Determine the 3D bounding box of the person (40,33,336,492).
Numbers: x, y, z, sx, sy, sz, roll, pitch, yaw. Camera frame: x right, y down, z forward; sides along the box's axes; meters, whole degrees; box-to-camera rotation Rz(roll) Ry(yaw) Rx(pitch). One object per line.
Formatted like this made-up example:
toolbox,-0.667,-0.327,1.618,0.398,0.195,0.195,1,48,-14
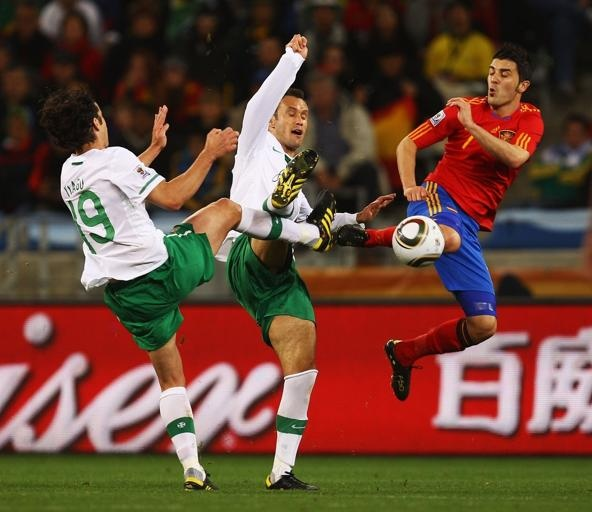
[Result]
person,-0.858,0.136,6.965,1.405,2.604,1.070,-11,22,-14

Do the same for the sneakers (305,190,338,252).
sneakers,0.206,-0.250,7.485,0.215,0.483,0.169,22,-28,-19

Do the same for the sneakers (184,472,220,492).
sneakers,-0.652,1.576,6.888,0.244,0.116,0.096,8,-5,-41

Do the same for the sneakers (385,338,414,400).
sneakers,0.883,0.955,8.153,0.181,0.552,0.216,-18,17,-40

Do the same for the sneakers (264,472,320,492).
sneakers,-0.039,1.606,7.051,0.405,0.167,0.138,-2,-6,17

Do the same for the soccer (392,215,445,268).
soccer,0.884,-0.146,7.440,0.375,0.399,0.331,-7,14,-8
